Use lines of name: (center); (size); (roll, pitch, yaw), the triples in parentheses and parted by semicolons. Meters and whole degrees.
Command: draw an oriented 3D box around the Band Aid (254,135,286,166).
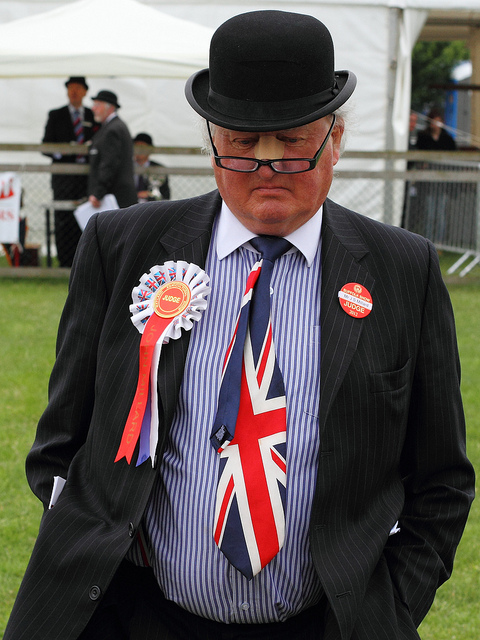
Band Aid: (0.059, -0.338, 1.840); (0.043, 0.041, 0.054); (-1, -11, 25)

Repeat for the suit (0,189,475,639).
suit: (0.028, 0.183, 1.974); (0.993, 0.807, 0.586); (1, 14, -3)

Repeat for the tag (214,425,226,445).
tag: (-0.038, 0.220, 1.825); (0.008, 0.030, 0.022); (13, 30, -44)
